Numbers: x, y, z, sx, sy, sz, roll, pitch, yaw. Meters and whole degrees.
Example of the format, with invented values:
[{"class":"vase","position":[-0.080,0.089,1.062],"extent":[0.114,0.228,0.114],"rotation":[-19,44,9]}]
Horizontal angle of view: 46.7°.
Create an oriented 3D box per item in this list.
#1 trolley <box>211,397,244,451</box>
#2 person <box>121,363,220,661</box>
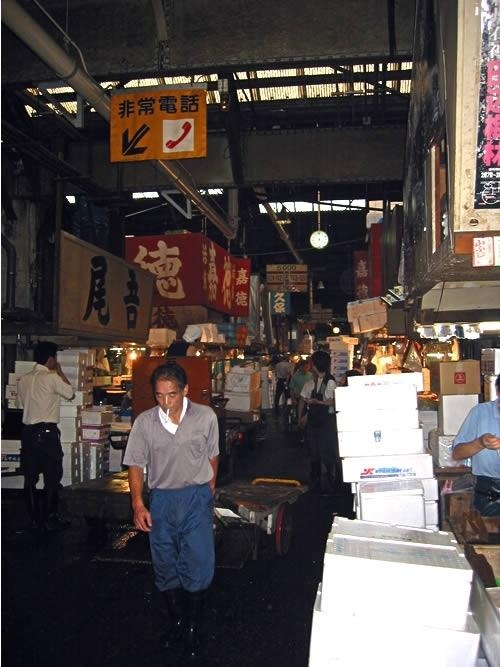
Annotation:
[{"class":"trolley","position":[-0.360,1.339,8.396],"extent":[0.502,0.674,0.954],"rotation":[0,1,8]},{"class":"person","position":[-0.517,1.120,3.770],"extent":[0.582,1.836,0.334],"rotation":[1,-2,-4]}]
